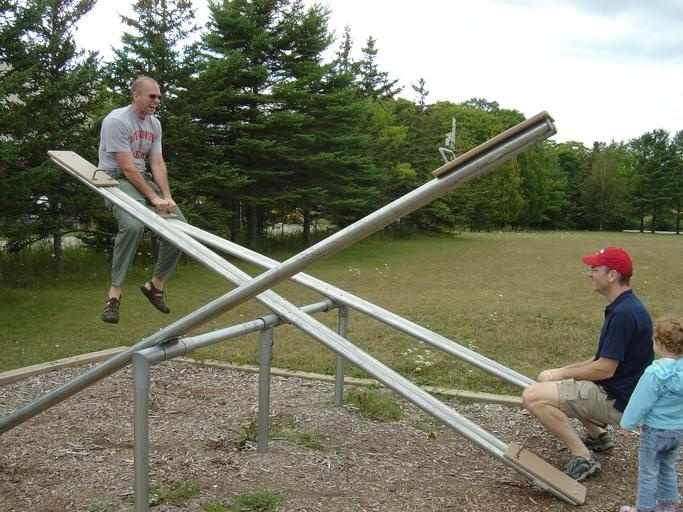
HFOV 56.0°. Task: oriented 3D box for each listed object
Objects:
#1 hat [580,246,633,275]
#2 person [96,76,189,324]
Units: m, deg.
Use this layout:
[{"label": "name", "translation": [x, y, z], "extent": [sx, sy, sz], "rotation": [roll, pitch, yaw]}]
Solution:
[{"label": "hat", "translation": [1.914, 0.029, 4.795], "extent": [0.373, 0.142, 0.223], "rotation": [7, 3, 29]}, {"label": "person", "translation": [-1.752, -0.491, 5.640], "extent": [0.708, 2.208, 1.153], "rotation": [0, 11, -18]}]
